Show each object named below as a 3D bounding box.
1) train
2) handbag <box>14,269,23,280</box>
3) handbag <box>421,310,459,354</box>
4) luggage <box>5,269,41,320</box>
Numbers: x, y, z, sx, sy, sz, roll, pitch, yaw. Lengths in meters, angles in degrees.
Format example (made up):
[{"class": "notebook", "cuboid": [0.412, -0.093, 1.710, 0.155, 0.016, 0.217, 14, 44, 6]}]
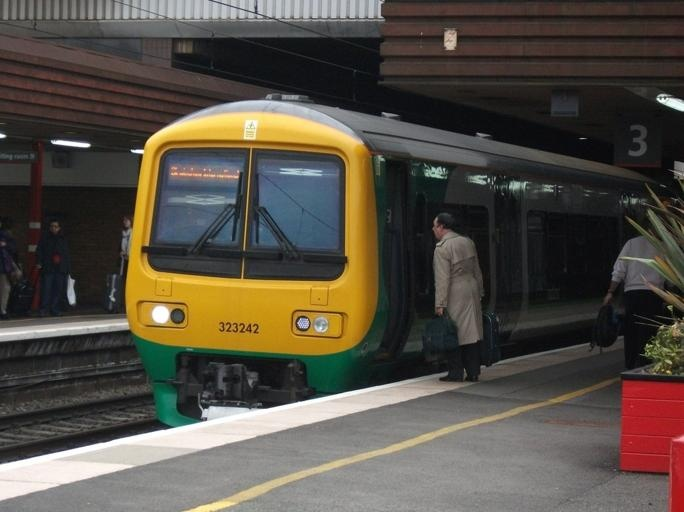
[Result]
[{"class": "train", "cuboid": [2.470, -0.067, 16.043, 3.265, 5.237, 16.989, -2, -1, 34]}, {"class": "handbag", "cuboid": [-6.850, 0.387, 16.580, 0.174, 0.181, 0.052, 2, 12, -36]}, {"class": "handbag", "cuboid": [1.155, 0.912, 9.245, 0.462, 0.683, 0.388, -6, -10, 34]}, {"class": "luggage", "cuboid": [-6.835, 0.853, 16.961, 0.504, 0.904, 1.320, 1, 2, -8]}]
